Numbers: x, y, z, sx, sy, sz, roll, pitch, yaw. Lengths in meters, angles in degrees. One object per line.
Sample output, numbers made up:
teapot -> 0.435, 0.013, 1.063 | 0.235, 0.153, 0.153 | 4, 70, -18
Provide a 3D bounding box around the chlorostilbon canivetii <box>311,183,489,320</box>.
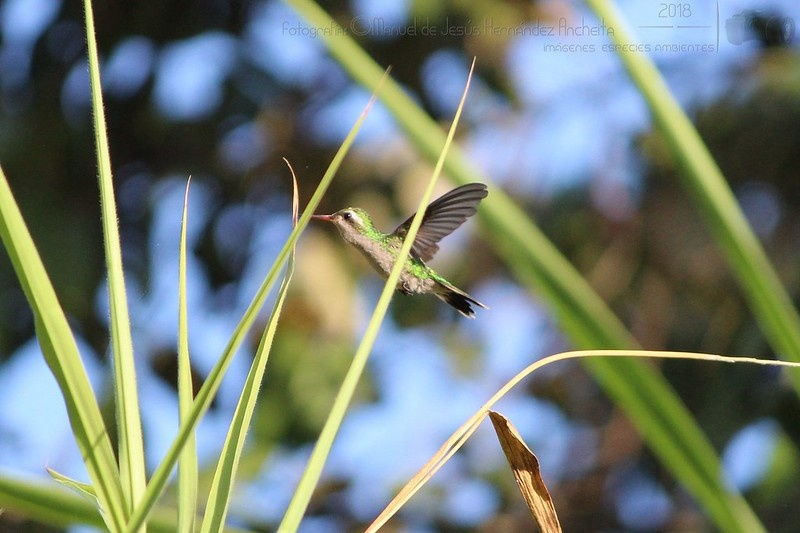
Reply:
chlorostilbon canivetii -> -0.003, -0.033, 1.766 | 0.324, 0.182, 0.342 | 11, -9, -11
